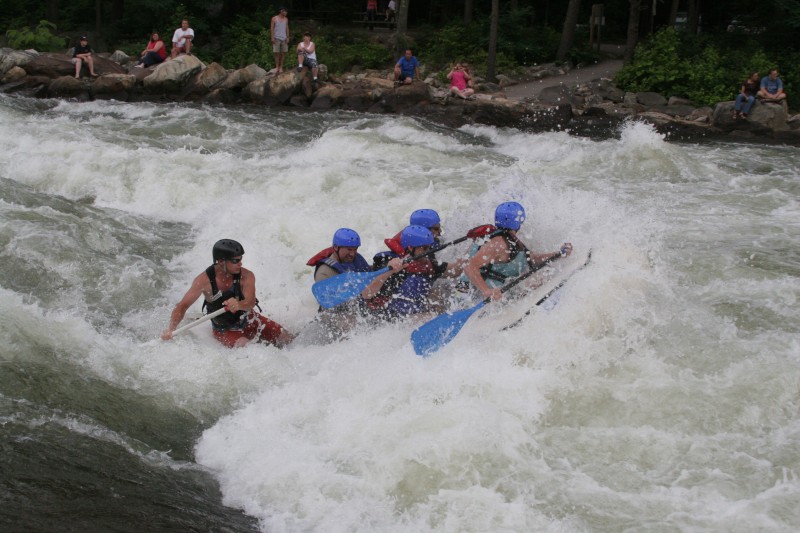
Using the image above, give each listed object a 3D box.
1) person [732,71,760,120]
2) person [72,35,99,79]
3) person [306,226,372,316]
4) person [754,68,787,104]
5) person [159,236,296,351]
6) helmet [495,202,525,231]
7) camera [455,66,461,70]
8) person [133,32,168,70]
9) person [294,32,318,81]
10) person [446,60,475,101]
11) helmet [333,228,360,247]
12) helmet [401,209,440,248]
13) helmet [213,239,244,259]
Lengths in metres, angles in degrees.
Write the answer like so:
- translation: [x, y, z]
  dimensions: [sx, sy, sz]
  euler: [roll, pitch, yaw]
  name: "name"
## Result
- translation: [8.472, -4.196, 20.516]
  dimensions: [0.490, 0.957, 1.160]
  euler: [12, 25, 20]
  name: "person"
- translation: [-8.164, -5.404, 21.679]
  dimensions: [0.514, 0.902, 1.439]
  euler: [-6, 25, -19]
  name: "person"
- translation: [-0.863, 0.109, 11.744]
  dimensions: [0.570, 1.082, 0.739]
  euler: [24, 49, 29]
  name: "person"
- translation: [9.190, -4.425, 20.708]
  dimensions: [0.675, 0.845, 0.564]
  euler: [6, 18, 21]
  name: "person"
- translation: [-2.428, 0.428, 11.678]
  dimensions: [0.905, 1.338, 1.008]
  euler: [12, 30, 28]
  name: "person"
- translation: [1.507, -0.683, 11.481]
  dimensions: [0.423, 0.383, 0.321]
  euler: [-5, 3, 30]
  name: "helmet"
- translation: [1.512, -5.191, 21.902]
  dimensions: [0.109, 0.047, 0.129]
  euler: [9, -3, 0]
  name: "camera"
- translation: [-6.609, -5.828, 22.471]
  dimensions: [0.635, 0.812, 1.269]
  euler: [0, 24, -6]
  name: "person"
- translation: [-2.436, -5.606, 22.182]
  dimensions: [0.493, 1.109, 1.681]
  euler: [0, 24, -7]
  name: "person"
- translation: [1.552, -4.874, 21.816]
  dimensions: [0.584, 1.105, 0.610]
  euler: [-2, -6, 0]
  name: "person"
- translation: [-0.729, -0.420, 11.441]
  dimensions: [0.286, 0.174, 0.285]
  euler: [6, 8, 22]
  name: "helmet"
- translation: [0.378, -0.553, 11.734]
  dimensions: [0.573, 0.566, 0.443]
  euler: [6, 30, 24]
  name: "helmet"
- translation: [-2.227, -0.262, 10.909]
  dimensions: [0.339, 0.283, 0.241]
  euler: [-1, 32, 13]
  name: "helmet"
